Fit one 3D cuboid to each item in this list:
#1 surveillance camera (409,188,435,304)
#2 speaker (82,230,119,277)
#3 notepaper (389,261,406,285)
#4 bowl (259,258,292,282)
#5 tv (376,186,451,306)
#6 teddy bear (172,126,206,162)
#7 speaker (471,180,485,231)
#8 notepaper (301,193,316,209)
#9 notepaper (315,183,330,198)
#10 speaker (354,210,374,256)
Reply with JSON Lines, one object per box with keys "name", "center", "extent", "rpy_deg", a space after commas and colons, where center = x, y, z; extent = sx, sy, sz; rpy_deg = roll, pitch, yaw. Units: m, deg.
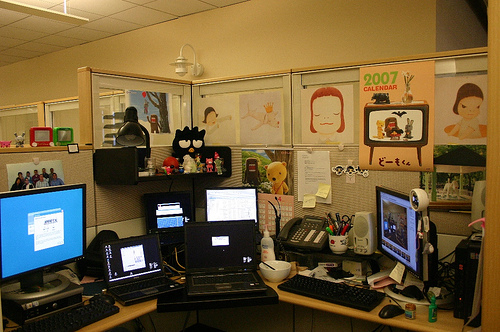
{"name": "surveillance camera", "center": [1.037, 0.466, 2.167], "extent": [0.171, 0.664, 0.145], "rpy_deg": [0, 6, 8]}
{"name": "speaker", "center": [-1.041, 0.618, 2.575], "extent": [0.209, 0.318, 0.169], "rpy_deg": [3, 8, 5]}
{"name": "notepaper", "center": [0.939, 0.671, 2.311], "extent": [0.031, 0.116, 0.121], "rpy_deg": [18, 27, -3]}
{"name": "bowl", "center": [0.161, 0.745, 2.560], "extent": [0.223, 0.114, 0.225], "rpy_deg": [6, -2, 0]}
{"name": "tv", "center": [1.046, 0.497, 2.346], "extent": [0.244, 0.659, 0.541], "rpy_deg": [-1, 3, -9]}
{"name": "teddy bear", "center": [-0.500, -0.179, 3.070], "extent": [0.285, 0.291, 0.131], "rpy_deg": [-3, 7, -18]}
{"name": "speaker", "center": [1.425, 0.227, 2.287], "extent": [0.067, 0.263, 0.107], "rpy_deg": [2, 7, 26]}
{"name": "notepaper", "center": [0.450, 0.261, 2.773], "extent": [0.121, 0.124, 0.021], "rpy_deg": [0, -5, 22]}
{"name": "notepaper", "center": [0.549, 0.185, 2.721], "extent": [0.101, 0.101, 0.027], "rpy_deg": [13, -4, 30]}
{"name": "speaker", "center": [0.794, 0.455, 2.537], "extent": [0.152, 0.283, 0.142], "rpy_deg": [-6, 6, -36]}
